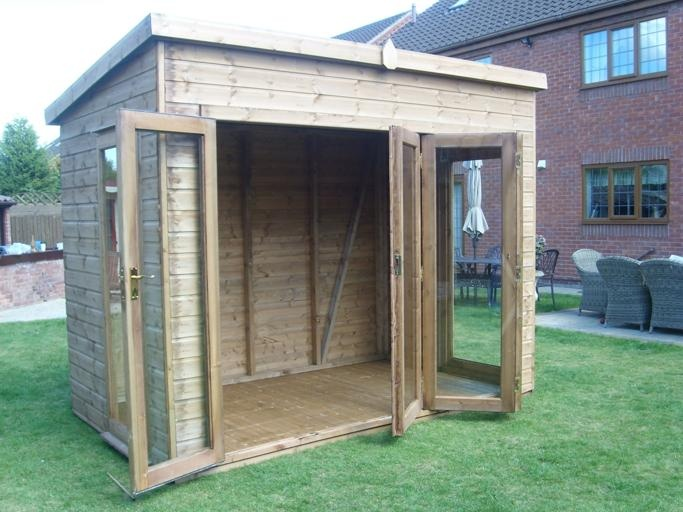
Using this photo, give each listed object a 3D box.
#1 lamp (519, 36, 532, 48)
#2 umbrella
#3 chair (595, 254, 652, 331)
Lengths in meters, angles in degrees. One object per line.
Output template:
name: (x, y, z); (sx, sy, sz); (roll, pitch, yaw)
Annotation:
lamp: (4.428, -5.080, 13.474); (0.247, 0.115, 0.248); (0, 1, -30)
umbrella: (1.304, -0.257, 5.417); (0.266, 1.305, 0.426); (0, 8, 7)
chair: (4.285, 0.496, 8.684); (0.886, 1.362, 1.017); (4, 9, 39)
